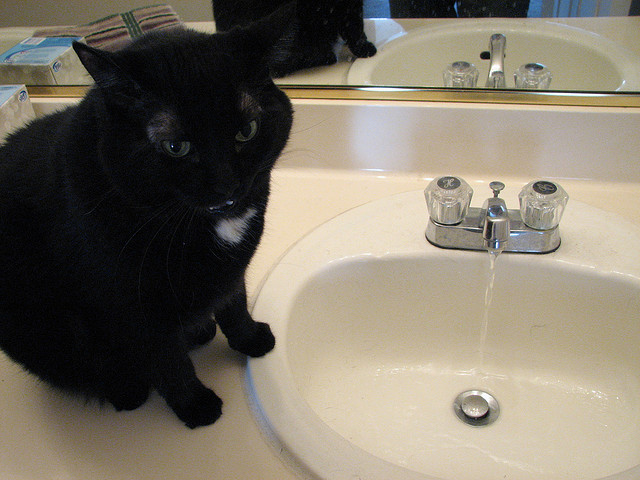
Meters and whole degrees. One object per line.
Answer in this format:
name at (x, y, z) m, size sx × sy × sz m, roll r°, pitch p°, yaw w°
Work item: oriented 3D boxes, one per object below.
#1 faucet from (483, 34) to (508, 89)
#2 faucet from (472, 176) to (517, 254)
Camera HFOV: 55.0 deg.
faucet at (0.299, -0.314, 1.083) m, size 0.032 × 0.087 × 0.053 m, roll 5°, pitch 23°, yaw 13°
faucet at (0.268, -0.036, 0.936) m, size 0.048 × 0.115 × 0.084 m, roll 4°, pitch 40°, yaw 15°
